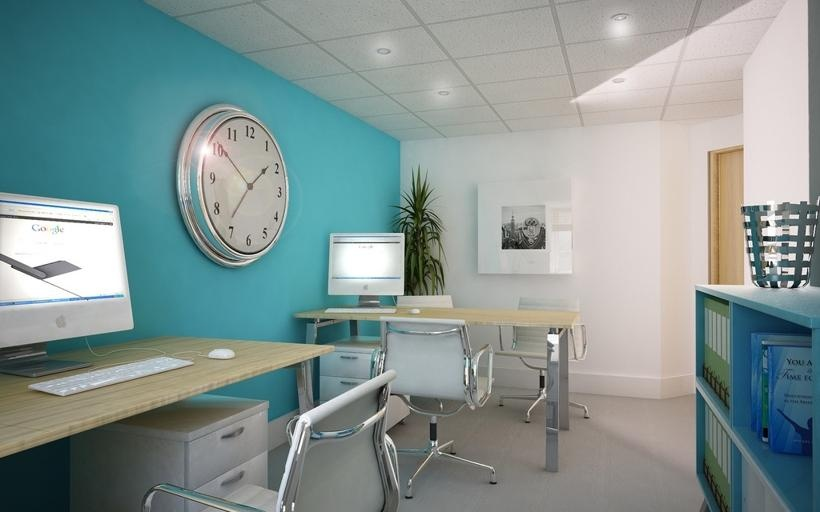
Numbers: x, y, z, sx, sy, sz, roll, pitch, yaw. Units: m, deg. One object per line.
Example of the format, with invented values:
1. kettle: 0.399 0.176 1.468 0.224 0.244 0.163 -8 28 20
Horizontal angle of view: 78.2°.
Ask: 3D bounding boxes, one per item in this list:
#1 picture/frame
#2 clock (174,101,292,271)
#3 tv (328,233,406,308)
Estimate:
1. picture/frame: 1.464 -0.361 6.206 1.286 1.167 0.423 0 -3 18
2. clock: -1.450 -0.569 4.154 0.214 1.306 0.977 4 7 27
3. tv: -0.443 0.119 5.002 0.822 0.737 0.254 0 -7 2
